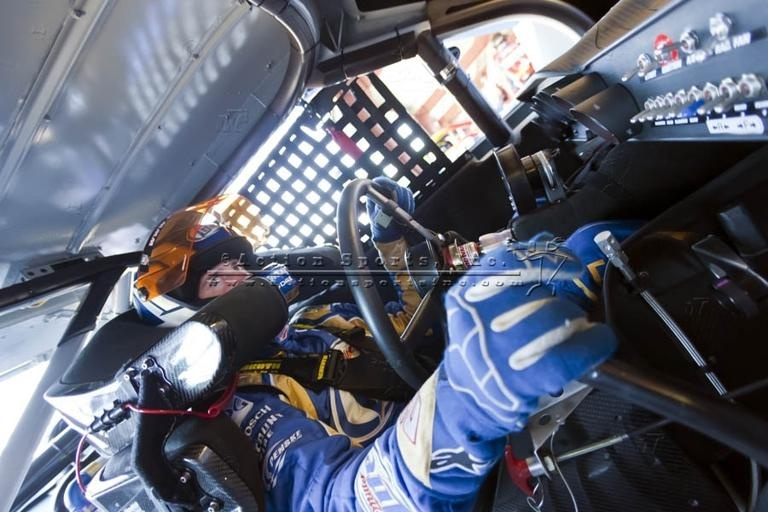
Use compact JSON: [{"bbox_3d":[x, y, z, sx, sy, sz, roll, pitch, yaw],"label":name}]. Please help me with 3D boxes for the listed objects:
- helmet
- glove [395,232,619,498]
[{"bbox_3d":[-0.646,-0.013,1.743,0.502,0.381,0.380,-47,-24,-15],"label":"helmet"},{"bbox_3d":[0.216,0.200,0.993,0.173,0.347,0.585,-119,52,-80],"label":"glove"}]
